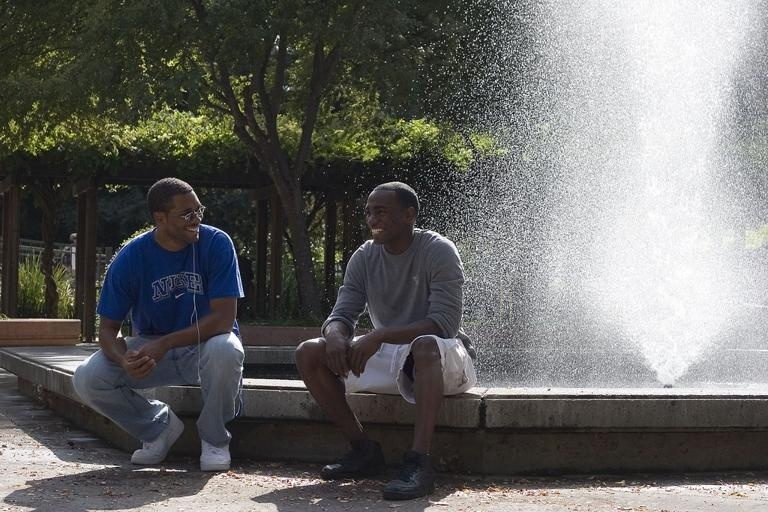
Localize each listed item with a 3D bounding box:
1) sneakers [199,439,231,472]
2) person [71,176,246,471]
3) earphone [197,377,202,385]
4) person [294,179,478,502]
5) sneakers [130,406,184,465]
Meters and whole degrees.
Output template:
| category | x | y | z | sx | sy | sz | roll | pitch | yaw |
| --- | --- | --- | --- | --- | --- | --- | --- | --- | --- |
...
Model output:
| category | x | y | z | sx | sy | sz | roll | pitch | yaw |
| --- | --- | --- | --- | --- | --- | --- | --- | --- | --- |
| sneakers | -1.526 | 1.805 | 9.300 | 0.285 | 0.262 | 0.188 | -2 | 4 | 5 |
| person | -2.003 | 0.615 | 9.408 | 1.416 | 2.627 | 0.683 | -2 | 4 | -9 |
| earphone | -1.701 | 1.165 | 9.493 | 0.025 | 0.083 | 0.058 | -1 | -3 | -12 |
| person | 0.066 | 0.697 | 9.165 | 1.497 | 2.687 | 0.868 | -2 | 4 | 4 |
| sneakers | -2.031 | 1.719 | 9.518 | 0.295 | 0.690 | 0.251 | 41 | -18 | -10 |
